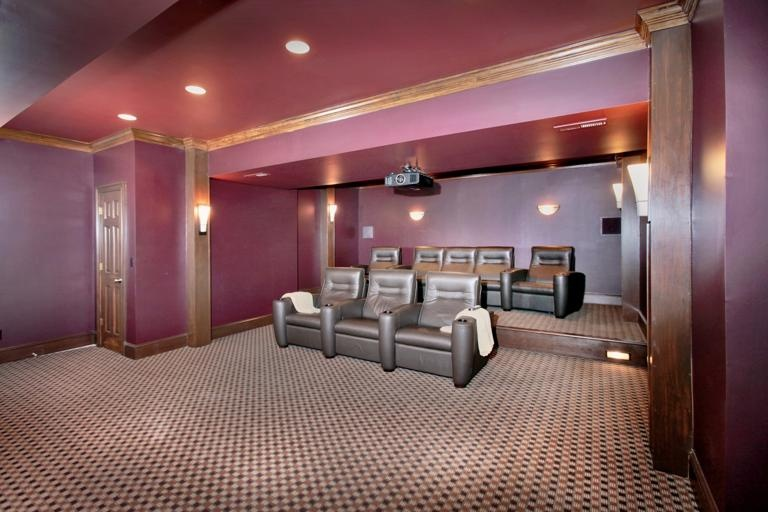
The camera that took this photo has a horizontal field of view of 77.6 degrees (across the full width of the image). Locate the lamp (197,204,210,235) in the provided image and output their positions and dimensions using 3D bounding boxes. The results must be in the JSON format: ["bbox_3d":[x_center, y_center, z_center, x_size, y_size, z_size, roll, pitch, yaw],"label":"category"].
[{"bbox_3d":[-2.617,-0.532,7.015,0.115,0.448,0.237,1,4,14],"label":"lamp"}]

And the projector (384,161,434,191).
[{"bbox_3d":[0.415,-1.034,6.359,0.366,0.238,0.525,2,5,31],"label":"projector"}]

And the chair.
[{"bbox_3d":[0.753,0.651,7.114,3.036,1.461,3.641,4,5,42],"label":"chair"}]

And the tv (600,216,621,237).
[{"bbox_3d":[3.895,-0.507,8.162,0.337,0.323,0.036,5,3,43],"label":"tv"}]
